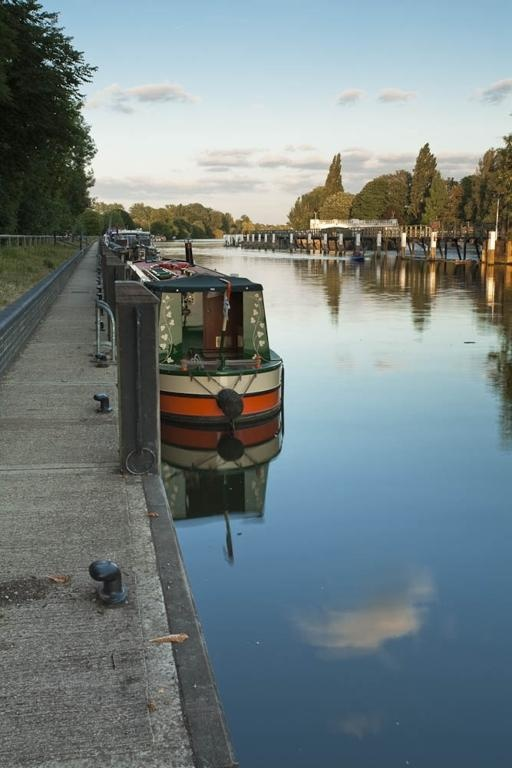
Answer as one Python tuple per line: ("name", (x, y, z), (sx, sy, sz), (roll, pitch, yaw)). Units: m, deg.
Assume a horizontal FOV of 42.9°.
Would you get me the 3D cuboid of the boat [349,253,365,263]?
("boat", (13.219, -16.401, 85.495), (2.032, 1.235, 3.671), (1, 11, 2))
